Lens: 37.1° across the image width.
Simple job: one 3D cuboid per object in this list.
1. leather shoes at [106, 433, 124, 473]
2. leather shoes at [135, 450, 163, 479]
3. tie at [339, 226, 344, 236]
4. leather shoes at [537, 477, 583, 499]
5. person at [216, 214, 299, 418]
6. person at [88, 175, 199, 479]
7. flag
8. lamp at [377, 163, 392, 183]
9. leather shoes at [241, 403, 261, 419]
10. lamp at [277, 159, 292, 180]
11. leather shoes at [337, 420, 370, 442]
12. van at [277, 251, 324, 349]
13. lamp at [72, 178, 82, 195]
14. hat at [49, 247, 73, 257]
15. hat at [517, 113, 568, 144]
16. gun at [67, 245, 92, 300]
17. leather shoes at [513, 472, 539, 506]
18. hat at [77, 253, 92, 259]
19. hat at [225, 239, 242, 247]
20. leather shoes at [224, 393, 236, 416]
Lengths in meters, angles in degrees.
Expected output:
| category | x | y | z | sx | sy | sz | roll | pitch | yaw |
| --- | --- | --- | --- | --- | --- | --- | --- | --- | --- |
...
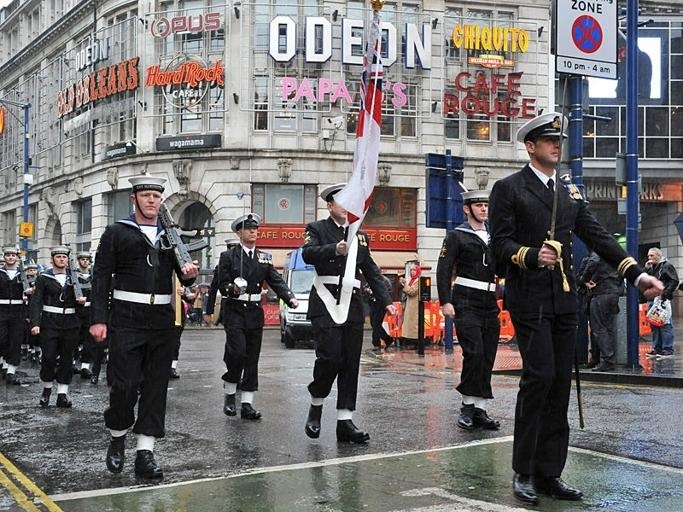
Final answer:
| category | x | y | z | sx | sy | sz | roll | pitch | yaw |
| --- | --- | --- | --- | --- | --- | --- | --- | --- | --- |
| leather shoes | -2.641 | 2.292 | 11.841 | 0.217 | 0.416 | 0.297 | -1 | 0 | -10 |
| leather shoes | -2.230 | 2.372 | 11.641 | 0.260 | 0.291 | 0.489 | -1 | 0 | -37 |
| tie | 0.024 | -0.316 | 13.269 | 0.095 | 0.094 | 0.024 | 0 | -15 | 5 |
| leather shoes | 2.296 | 2.473 | 10.807 | 0.521 | 0.221 | 0.195 | -1 | 0 | 20 |
| person | -1.349 | 0.836 | 15.040 | 0.939 | 2.904 | 1.060 | -1 | -1 | -8 |
| person | -2.400 | 0.786 | 11.890 | 1.029 | 3.437 | 0.600 | -1 | -1 | -12 |
| flag | 0.277 | -1.591 | 12.789 | 0.497 | 2.950 | 0.587 | -1 | -1 | 23 |
| lamp | 1.804 | -3.403 | 42.092 | 0.723 | 0.996 | 0.712 | 1 | 5 | 0 |
| leather shoes | -1.344 | 2.234 | 14.501 | 0.136 | 0.256 | 0.373 | 11 | -20 | -42 |
| lamp | -2.307 | -3.548 | 41.394 | 0.836 | 1.107 | 0.330 | 0 | 5 | -8 |
| leather shoes | 0.126 | 2.209 | 12.901 | 0.456 | 0.294 | 0.293 | -1 | 0 | 12 |
| van | -1.214 | 1.334 | 28.249 | 1.388 | 1.893 | 3.490 | -1 | -3 | -2 |
| lamp | -12.328 | -3.226 | 47.659 | 0.517 | 0.825 | 0.192 | -1 | -1 | 42 |
| hat | -4.791 | -0.083 | 17.337 | 0.327 | 0.162 | 0.260 | -1 | 0 | -32 |
| hat | 2.212 | -1.394 | 11.018 | 0.378 | 0.188 | 0.408 | -1 | -1 | -36 |
| gun | -4.959 | 0.321 | 19.228 | 0.428 | 1.091 | 0.098 | 19 | -44 | -25 |
| leather shoes | 1.948 | 2.443 | 10.719 | 0.249 | 0.204 | 0.231 | -1 | 0 | 9 |
| hat | -4.869 | 0.003 | 19.253 | 0.282 | 0.115 | 0.300 | 0 | 0 | -14 |
| hat | -2.419 | -0.298 | 22.695 | 0.475 | 0.142 | 0.462 | 0 | -2 | -20 |
| leather shoes | -1.615 | 2.152 | 14.761 | 0.194 | 0.289 | 0.355 | -1 | 0 | -7 |
